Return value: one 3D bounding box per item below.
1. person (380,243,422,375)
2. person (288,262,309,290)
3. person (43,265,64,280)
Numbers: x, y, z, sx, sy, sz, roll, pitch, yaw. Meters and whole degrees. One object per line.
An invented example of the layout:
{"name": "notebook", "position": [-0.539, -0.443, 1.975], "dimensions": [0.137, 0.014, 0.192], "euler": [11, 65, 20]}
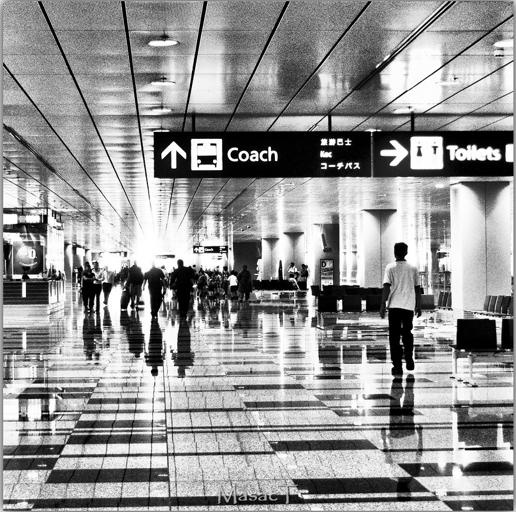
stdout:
{"name": "person", "position": [1.874, 0.681, 7.813], "dimensions": [0.506, 1.760, 0.769], "euler": [-1, -2, 15]}
{"name": "person", "position": [2.329, 1.202, 35.144], "dimensions": [1.210, 1.716, 0.697], "euler": [4, 2, 5]}
{"name": "person", "position": [-8.339, 0.669, 23.530], "dimensions": [1.198, 0.613, 0.386], "euler": [1, -2, -9]}
